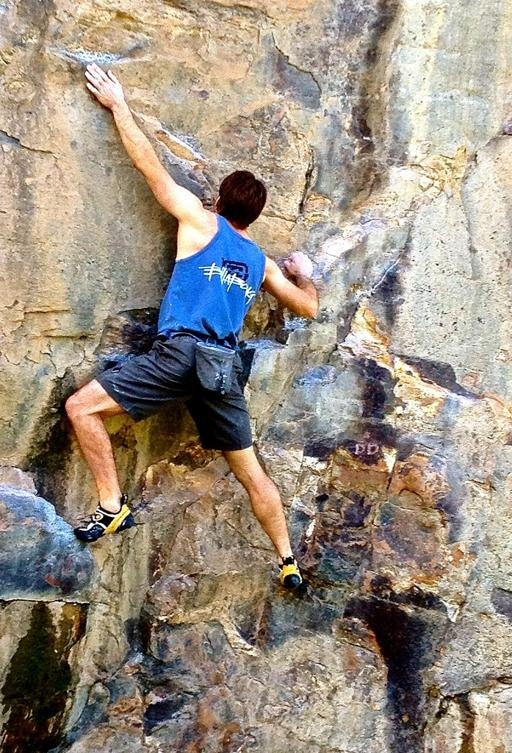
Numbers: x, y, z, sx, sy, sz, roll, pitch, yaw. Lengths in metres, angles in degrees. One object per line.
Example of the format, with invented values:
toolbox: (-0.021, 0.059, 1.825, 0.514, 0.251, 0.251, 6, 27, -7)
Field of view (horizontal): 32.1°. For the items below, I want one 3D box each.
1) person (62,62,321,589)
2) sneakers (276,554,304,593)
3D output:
person: (-0.207, -0.140, 3.052, 0.967, 1.589, 0.781, 7, 26, -14)
sneakers: (0.114, 0.697, 3.193, 0.085, 0.057, 0.134, -30, 29, 3)
